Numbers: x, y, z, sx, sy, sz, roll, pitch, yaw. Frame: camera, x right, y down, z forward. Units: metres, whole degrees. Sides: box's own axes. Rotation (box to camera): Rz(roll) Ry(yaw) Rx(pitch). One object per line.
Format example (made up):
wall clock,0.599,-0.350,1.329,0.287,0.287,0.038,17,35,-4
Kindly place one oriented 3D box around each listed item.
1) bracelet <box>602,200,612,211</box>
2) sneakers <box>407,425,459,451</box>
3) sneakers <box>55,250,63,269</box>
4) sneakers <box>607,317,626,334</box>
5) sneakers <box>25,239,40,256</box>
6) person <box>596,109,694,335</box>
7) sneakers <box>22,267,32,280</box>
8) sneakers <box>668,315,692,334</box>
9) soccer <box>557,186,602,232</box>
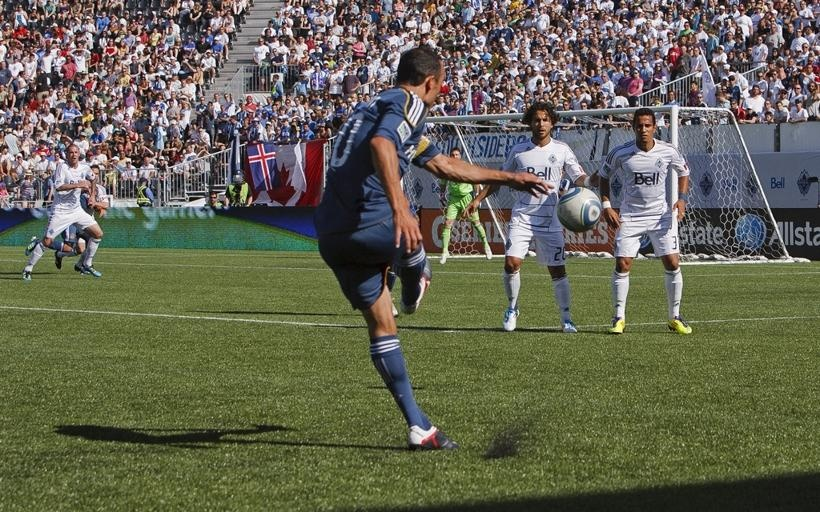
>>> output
bracelet,2.298,-0.598,12.773,0.101,0.073,0.098,-3,4,-15
sneakers,0.171,1.465,8.752,0.420,0.177,0.162,2,-3,-14
sneakers,-6.438,0.070,20.123,0.164,0.335,0.116,-1,15,-4
sneakers,2.327,0.781,12.396,0.108,0.111,0.255,3,7,13
sneakers,-6.904,-0.158,20.090,0.177,0.135,0.398,23,-46,-13
person,2.662,-0.418,12.489,1.025,2.493,0.810,2,8,8
sneakers,-6.332,0.322,18.198,0.149,0.188,0.436,2,-3,-28
sneakers,3.022,0.766,12.271,0.252,0.183,0.312,3,8,12
soccer,1.857,-0.534,12.187,0.510,0.551,0.494,7,0,12
